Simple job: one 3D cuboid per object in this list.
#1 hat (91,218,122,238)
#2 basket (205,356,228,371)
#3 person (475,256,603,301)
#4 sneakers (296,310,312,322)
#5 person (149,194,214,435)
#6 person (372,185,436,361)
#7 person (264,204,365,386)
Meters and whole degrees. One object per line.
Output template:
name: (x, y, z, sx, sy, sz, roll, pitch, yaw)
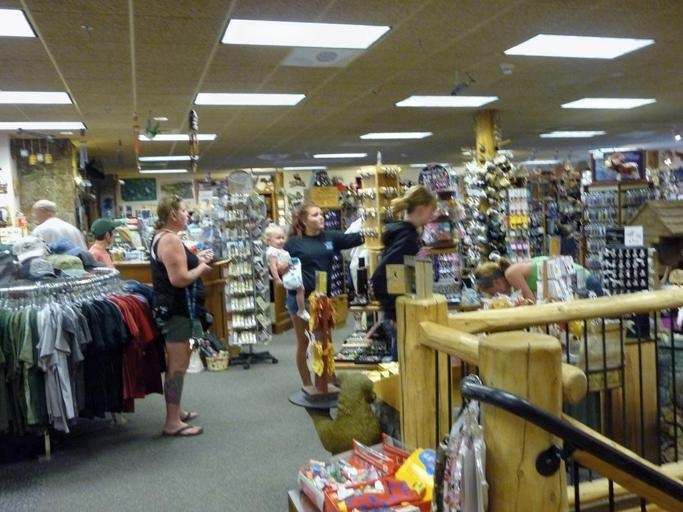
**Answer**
hat: (-2.884, -0.334, 6.492, 0.314, 0.180, 0.204, -37, 36, -29)
basket: (-1.582, 1.362, 6.691, 0.154, 0.110, 0.236, -2, -7, 5)
person: (1.527, 0.172, 4.622, 0.909, 0.394, 1.022, -6, 6, -32)
sneakers: (-0.375, 0.596, 5.284, 0.083, 0.066, 0.158, -8, 11, -31)
person: (-1.447, 0.536, 4.797, 0.505, 2.136, 0.453, -4, 6, -19)
person: (0.544, 0.202, 4.675, 0.582, 1.608, 1.340, -2, 5, 10)
person: (-0.376, 0.461, 5.634, 0.860, 1.999, 0.914, -1, 6, 15)
